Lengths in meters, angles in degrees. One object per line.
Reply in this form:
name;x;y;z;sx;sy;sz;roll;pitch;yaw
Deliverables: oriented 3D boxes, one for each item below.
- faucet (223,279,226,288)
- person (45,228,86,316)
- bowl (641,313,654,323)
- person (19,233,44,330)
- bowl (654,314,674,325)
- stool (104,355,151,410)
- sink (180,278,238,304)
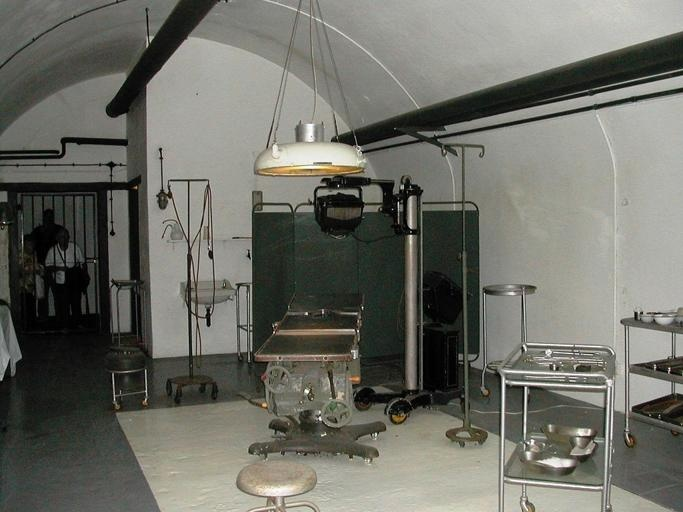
faucet;-1.772;0.411;9.617;0.058;0.104;0.097;0;3;-25
person;-4.935;0.329;11.437;0.689;1.708;0.276;-4;7;-27
bowl;2.873;0.575;5.956;0.077;0.037;0.079;-2;2;0
person;-5.643;0.445;11.617;0.398;1.744;0.970;-4;7;-27
bowl;2.963;0.578;5.821;0.102;0.059;0.106;-4;1;0
stool;-2.513;1.361;7.454;0.594;0.716;0.596;-2;8;-23
sink;-1.912;0.565;9.260;0.821;0.357;0.970;-2;7;-17
